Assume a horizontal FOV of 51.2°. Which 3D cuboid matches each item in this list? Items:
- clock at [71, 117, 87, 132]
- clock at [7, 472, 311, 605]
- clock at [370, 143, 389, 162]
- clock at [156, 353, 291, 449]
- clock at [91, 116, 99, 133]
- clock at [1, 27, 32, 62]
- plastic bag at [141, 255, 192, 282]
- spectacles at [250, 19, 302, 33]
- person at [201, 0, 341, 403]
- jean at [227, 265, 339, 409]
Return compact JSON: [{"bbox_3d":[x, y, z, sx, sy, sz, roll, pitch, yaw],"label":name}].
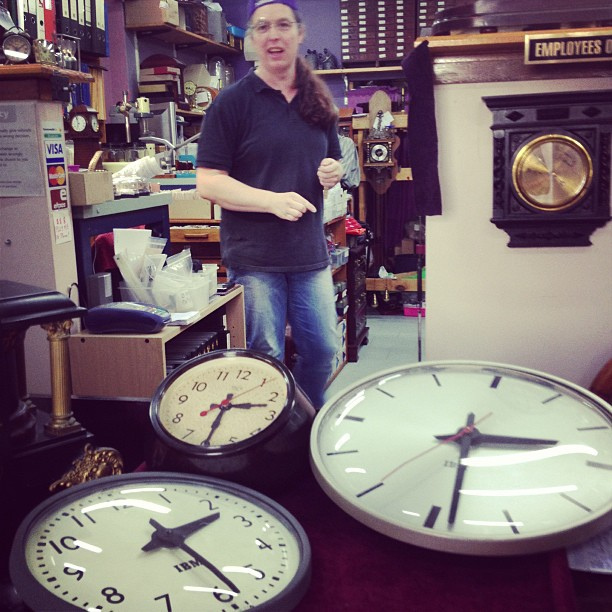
[{"bbox_3d":[-1.097,-0.880,3.076,0.093,0.070,0.022,5,15,31],"label":"clock"},{"bbox_3d":[-0.163,0.260,0.736,0.323,0.047,0.233,-2,10,-5],"label":"clock"},{"bbox_3d":[0.720,-1.519,6.303,0.178,0.181,0.049,0,13,8],"label":"clock"},{"bbox_3d":[-0.127,0.140,0.994,0.203,0.083,0.194,-5,11,-20],"label":"clock"},{"bbox_3d":[-1.025,-0.885,3.093,0.022,0.075,0.072,-4,12,-7],"label":"clock"},{"bbox_3d":[-0.737,-0.665,1.627,0.069,0.071,0.041,-8,14,-28],"label":"clock"},{"bbox_3d":[-0.475,-0.123,2.144,0.163,0.092,0.087,-3,12,-5],"label":"plastic bag"},{"bbox_3d":[-0.104,-0.869,1.977,0.122,0.036,0.051,-2,11,-4],"label":"spectacles"},{"bbox_3d":[-0.105,-0.279,2.153,0.461,1.422,0.941,-2,12,3],"label":"person"},{"bbox_3d":[-0.076,0.143,2.451,0.412,0.616,0.219,-4,13,-8],"label":"jean"}]
